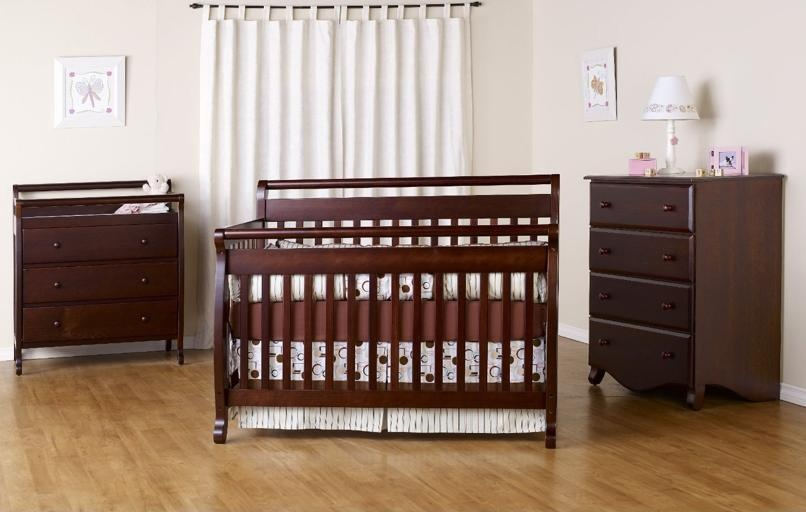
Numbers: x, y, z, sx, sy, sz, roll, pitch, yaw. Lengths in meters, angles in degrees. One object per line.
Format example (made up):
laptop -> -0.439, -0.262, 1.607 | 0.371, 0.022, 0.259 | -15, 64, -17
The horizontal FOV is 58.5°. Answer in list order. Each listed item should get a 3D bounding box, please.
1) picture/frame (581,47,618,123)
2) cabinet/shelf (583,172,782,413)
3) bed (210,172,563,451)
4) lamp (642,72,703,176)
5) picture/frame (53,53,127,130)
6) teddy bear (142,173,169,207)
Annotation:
picture/frame -> 1.418, -1.229, 5.156 | 0.087, 0.510, 0.372 | -6, 14, -24
cabinet/shelf -> 1.622, 0.187, 4.126 | 1.142, 1.282, 0.519 | 3, 14, 14
bed -> -0.055, 0.226, 4.035 | 1.735, 1.375, 1.173 | 0, 9, 6
lamp -> 1.620, -0.805, 4.384 | 0.313, 0.562, 0.566 | 7, 15, 29
picture/frame -> -2.214, -1.159, 5.021 | 0.525, 0.544, 0.048 | -1, 6, -10
teddy bear -> -1.721, -0.450, 4.992 | 0.234, 0.242, 0.147 | 0, -6, -5
